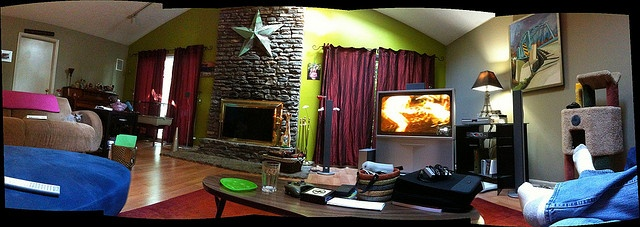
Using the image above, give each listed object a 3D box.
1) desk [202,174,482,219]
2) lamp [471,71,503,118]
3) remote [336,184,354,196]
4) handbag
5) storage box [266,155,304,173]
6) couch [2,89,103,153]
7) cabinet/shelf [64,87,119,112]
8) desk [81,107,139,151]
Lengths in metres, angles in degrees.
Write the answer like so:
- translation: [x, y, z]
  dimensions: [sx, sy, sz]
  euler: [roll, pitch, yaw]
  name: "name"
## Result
- translation: [-0.165, 1.883, 6.835]
  dimensions: [3.899, 0.536, 1.255]
  euler: [4, 11, 9]
  name: "desk"
- translation: [5.045, -0.593, 9.274]
  dimensions: [0.799, 1.389, 0.907]
  euler: [0, -1, 24]
  name: "lamp"
- translation: [0.524, 1.623, 6.501]
  dimensions: [0.413, 0.073, 0.268]
  euler: [5, 12, 31]
  name: "remote"
- translation: [2.408, 1.521, 6.407]
  dimensions: [1.383, 0.293, 1.107]
  euler: [4, 1, 18]
  name: "handbag"
- translation: [-0.994, 1.500, 9.200]
  dimensions: [0.797, 0.273, 0.952]
  euler: [2, -3, 37]
  name: "storage box"
- translation: [-7.204, 0.274, 8.495]
  dimensions: [3.182, 1.264, 2.159]
  euler: [3, -3, -37]
  name: "couch"
- translation: [-8.299, -0.509, 11.053]
  dimensions: [1.531, 0.855, 0.532]
  euler: [1, -7, -33]
  name: "cabinet/shelf"
- translation: [-6.144, 0.412, 9.291]
  dimensions: [1.824, 1.551, 1.558]
  euler: [2, 2, 43]
  name: "desk"
